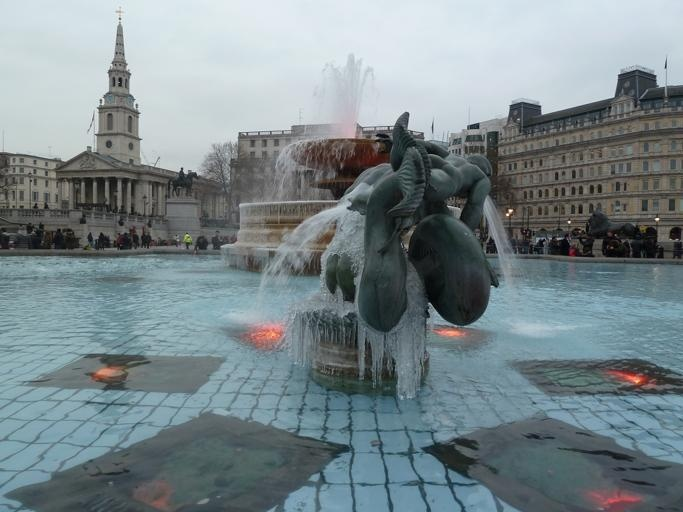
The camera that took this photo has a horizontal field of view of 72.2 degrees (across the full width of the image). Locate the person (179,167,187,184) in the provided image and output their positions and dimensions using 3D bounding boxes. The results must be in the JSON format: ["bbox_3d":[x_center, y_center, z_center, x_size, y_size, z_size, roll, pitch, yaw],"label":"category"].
[{"bbox_3d":[-14.380,-7.183,42.555,0.536,1.089,1.220,-2,6,-19],"label":"person"}]
